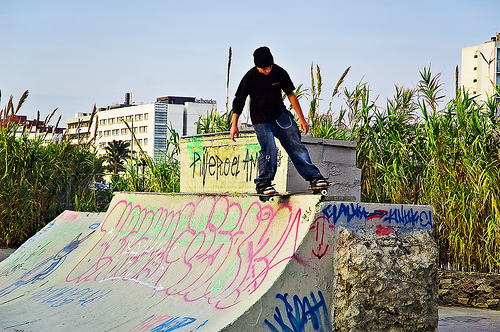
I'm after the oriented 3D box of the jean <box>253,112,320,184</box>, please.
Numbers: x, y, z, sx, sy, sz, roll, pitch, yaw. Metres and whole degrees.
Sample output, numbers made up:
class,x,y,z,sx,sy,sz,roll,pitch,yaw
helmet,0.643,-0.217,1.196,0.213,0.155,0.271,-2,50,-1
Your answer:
class,x,y,z,sx,sy,sz,roll,pitch,yaw
jean,0.487,-0.186,9.648,0.993,0.515,2.064,-6,34,-5

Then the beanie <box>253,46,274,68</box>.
class,x,y,z,sx,sy,sz,roll,pitch,yaw
beanie,0.216,-1.737,9.505,0.300,0.334,0.229,-1,-3,1

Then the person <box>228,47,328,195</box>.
class,x,y,z,sx,sy,sz,roll,pitch,yaw
person,0.386,-0.711,9.517,1.243,2.650,0.972,-13,-16,11
